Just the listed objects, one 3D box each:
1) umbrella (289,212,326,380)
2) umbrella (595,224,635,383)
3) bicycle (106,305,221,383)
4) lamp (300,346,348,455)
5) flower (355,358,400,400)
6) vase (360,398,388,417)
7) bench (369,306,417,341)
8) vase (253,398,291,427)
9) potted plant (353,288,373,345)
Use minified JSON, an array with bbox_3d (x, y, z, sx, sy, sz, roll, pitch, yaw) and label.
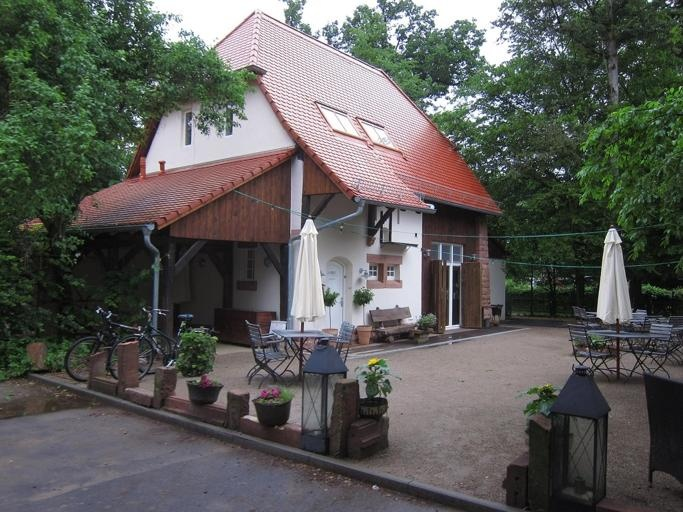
[{"bbox_3d":[-0.743,0.430,12.240,0.679,2.470,0.829,-1,5,-4],"label":"umbrella"},{"bbox_3d":[5.737,0.510,11.980,0.684,2.238,0.688,0,5,9],"label":"umbrella"},{"bbox_3d":[-3.982,1.994,12.735,1.093,1.542,2.484,-5,-10,42],"label":"bicycle"},{"bbox_3d":[-0.294,2.019,8.165,0.513,1.408,0.552,2,6,30],"label":"lamp"},{"bbox_3d":[0.546,1.801,8.390,0.674,0.594,0.603,-13,-9,11],"label":"flower"},{"bbox_3d":[0.458,2.169,8.145,0.388,0.253,0.267,-1,5,1],"label":"vase"},{"bbox_3d":[1.805,2.204,18.677,0.763,1.055,2.145,3,1,41],"label":"bench"},{"bbox_3d":[-1.036,2.304,8.419,0.423,0.276,0.392,-1,-8,8],"label":"vase"},{"bbox_3d":[0.735,1.814,17.714,0.525,1.707,0.779,3,6,36],"label":"potted plant"}]
